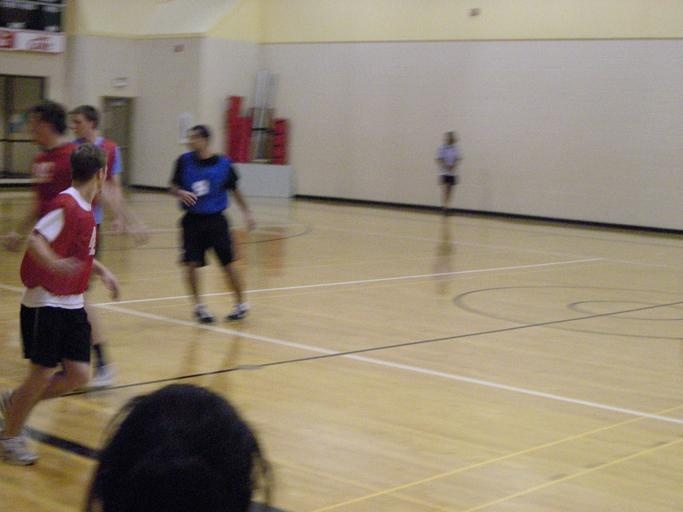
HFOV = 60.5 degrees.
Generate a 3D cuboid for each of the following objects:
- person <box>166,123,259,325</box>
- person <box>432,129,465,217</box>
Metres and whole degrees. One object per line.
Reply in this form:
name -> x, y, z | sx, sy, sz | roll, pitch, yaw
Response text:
person -> -1.330, -0.328, 5.970 | 0.818, 1.963, 0.566 | 1, 12, -12
person -> 3.043, -2.427, 16.977 | 0.665, 2.388, 0.823 | 6, 12, 11
